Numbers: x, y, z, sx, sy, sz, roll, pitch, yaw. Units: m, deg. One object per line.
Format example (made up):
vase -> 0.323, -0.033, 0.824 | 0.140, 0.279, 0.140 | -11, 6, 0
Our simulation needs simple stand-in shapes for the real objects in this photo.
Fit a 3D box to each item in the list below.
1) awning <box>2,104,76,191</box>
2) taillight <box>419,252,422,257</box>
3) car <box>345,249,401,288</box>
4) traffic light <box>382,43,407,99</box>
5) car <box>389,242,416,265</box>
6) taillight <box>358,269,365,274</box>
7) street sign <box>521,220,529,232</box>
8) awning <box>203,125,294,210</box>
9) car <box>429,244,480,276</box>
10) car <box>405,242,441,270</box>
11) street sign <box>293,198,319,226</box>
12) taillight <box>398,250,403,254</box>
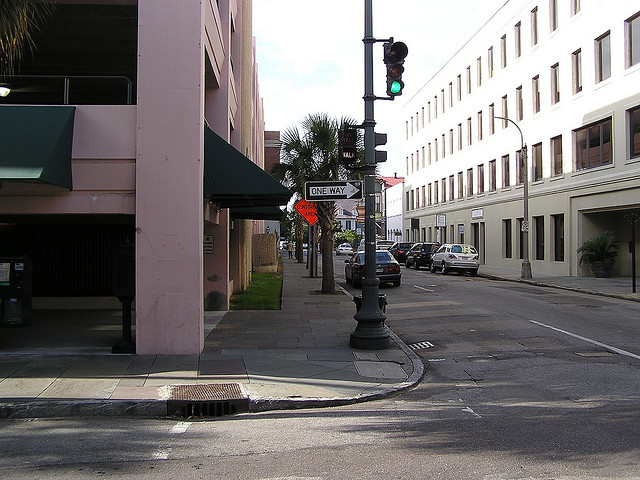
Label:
awning -> -5.108, -1.775, 11.600 | 1.450, 1.456, 0.401 | 7, -14, -11
taillight -> 6.374, 0.907, 40.446 | 0.049, 0.279, 0.283 | 0, -1, -21
car -> 2.150, 1.177, 26.210 | 2.109, 1.522, 5.329 | 0, -1, 3
traffic light -> 1.480, -3.362, 12.479 | 0.444, 1.179, 0.712 | 0, -1, 5
car -> 5.584, 0.880, 42.922 | 1.461, 1.303, 3.309 | 0, 1, 2
taillight -> 1.653, 1.245, 25.679 | 0.305, 0.232, 0.337 | 0, 0, 3
street sign -> 10.219, -0.735, 31.616 | 0.265, 0.604, 0.752 | 0, -1, 14
awning -> -1.489, -1.504, 13.331 | 1.818, 0.878, 1.465 | 0, 2, -3
car -> 7.381, 0.992, 35.762 | 1.269, 1.135, 2.795 | 1, 1, -5
car -> 6.720, 0.894, 41.478 | 1.110, 1.171, 2.527 | 0, 2, -5
street sign -> -0.520, -1.087, 23.757 | 0.817, 0.858, 0.220 | 14, -37, -10
taillight -> 5.757, 0.827, 45.965 | 0.279, 0.274, 0.458 | 1, -1, -33
